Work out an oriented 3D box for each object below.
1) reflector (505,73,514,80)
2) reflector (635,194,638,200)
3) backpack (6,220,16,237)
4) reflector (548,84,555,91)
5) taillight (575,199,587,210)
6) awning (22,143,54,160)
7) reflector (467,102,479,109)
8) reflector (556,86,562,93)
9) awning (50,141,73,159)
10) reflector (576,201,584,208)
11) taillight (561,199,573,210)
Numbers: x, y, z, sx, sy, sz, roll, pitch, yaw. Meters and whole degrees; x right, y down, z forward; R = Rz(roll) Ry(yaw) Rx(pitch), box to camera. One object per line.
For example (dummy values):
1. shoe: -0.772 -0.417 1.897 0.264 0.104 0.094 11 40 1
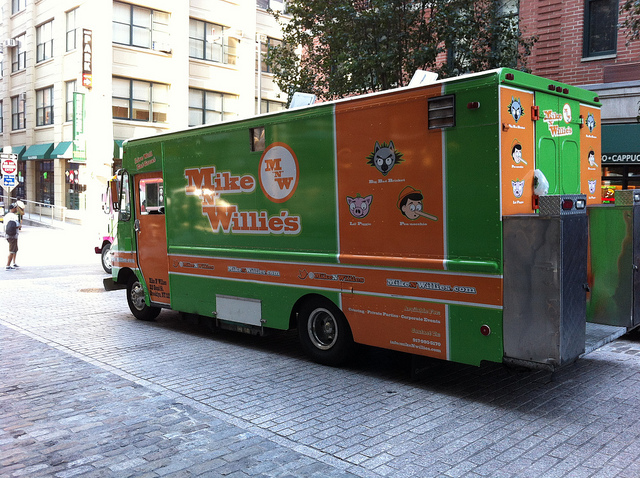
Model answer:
1. reflector: 2.222 -1.894 5.632 0.119 0.094 0.067 -1 1 -23
2. reflector: 4.374 -0.582 6.646 0.021 0.069 0.096 3 6 42
3. backpack: -11.534 -0.413 18.085 0.388 0.751 0.718 -4 6 -41
4. reflector: 3.036 -1.981 6.318 0.041 0.081 0.076 11 19 -33
5. taillight: 3.078 -0.413 5.676 0.133 0.104 0.143 0 5 15
6. awning: -19.940 -6.249 34.227 4.652 1.217 0.659 3 6 41
7. reflector: 1.816 -1.577 5.700 0.132 0.071 0.022 3 5 37
8. reflector: 3.195 -1.992 6.434 0.088 0.091 0.052 1 8 9
9. awning: -17.020 -5.847 31.802 1.402 0.930 1.512 1 6 28
10. reflector: 3.061 -0.413 5.664 0.126 0.095 0.070 -3 5 -28
11. taillight: 2.783 -0.391 5.425 0.119 0.129 0.072 -2 1 -27
